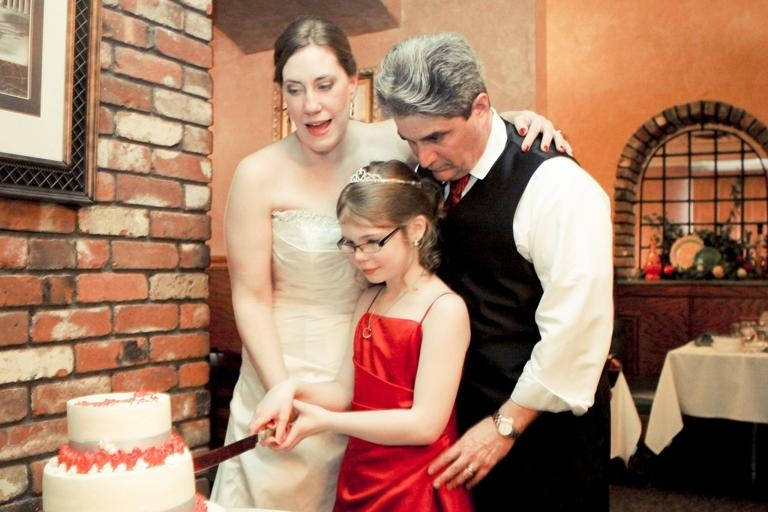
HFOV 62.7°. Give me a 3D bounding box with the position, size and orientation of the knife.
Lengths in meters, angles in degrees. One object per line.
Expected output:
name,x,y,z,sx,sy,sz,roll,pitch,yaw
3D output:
knife,-0.395,0.619,2.185,0.052,0.099,0.668,-4,1,28

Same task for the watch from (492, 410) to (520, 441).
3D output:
watch,0.442,0.622,2.365,0.069,0.112,0.104,-40,2,8

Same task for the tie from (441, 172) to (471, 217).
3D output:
tie,0.272,-0.225,2.540,0.014,0.271,0.047,-6,47,-34
